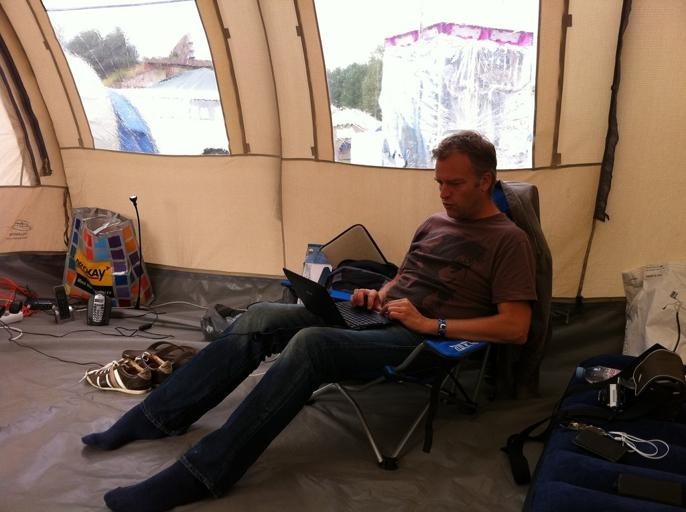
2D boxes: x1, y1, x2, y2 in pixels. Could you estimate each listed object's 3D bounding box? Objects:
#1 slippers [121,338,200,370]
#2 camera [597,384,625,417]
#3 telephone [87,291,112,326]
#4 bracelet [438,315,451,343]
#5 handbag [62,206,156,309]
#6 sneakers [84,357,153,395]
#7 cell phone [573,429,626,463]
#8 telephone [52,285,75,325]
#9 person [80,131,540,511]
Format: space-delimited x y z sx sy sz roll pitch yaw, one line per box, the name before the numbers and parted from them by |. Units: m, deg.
slippers | -1.107 0.576 3.090 0.508 0.126 0.222 3 9 17
camera | 1.103 0.596 2.150 0.086 0.166 0.240 -5 -14 34
telephone | -1.799 0.385 3.863 0.164 0.073 0.250 8 43 -25
bracelet | 0.441 0.324 2.317 0.058 0.073 0.085 9 -5 1
handbag | -1.919 0.034 4.273 0.767 0.703 0.399 11 29 21
sneakers | -1.230 0.669 2.938 0.389 0.140 0.160 4 1 18
cell phone | 0.965 0.763 2.028 0.139 0.041 0.196 35 1 38
telephone | -2.116 0.342 3.922 0.124 0.268 0.238 -18 20 -26
person | -0.051 0.177 2.259 2.009 1.194 0.838 -16 20 -28
